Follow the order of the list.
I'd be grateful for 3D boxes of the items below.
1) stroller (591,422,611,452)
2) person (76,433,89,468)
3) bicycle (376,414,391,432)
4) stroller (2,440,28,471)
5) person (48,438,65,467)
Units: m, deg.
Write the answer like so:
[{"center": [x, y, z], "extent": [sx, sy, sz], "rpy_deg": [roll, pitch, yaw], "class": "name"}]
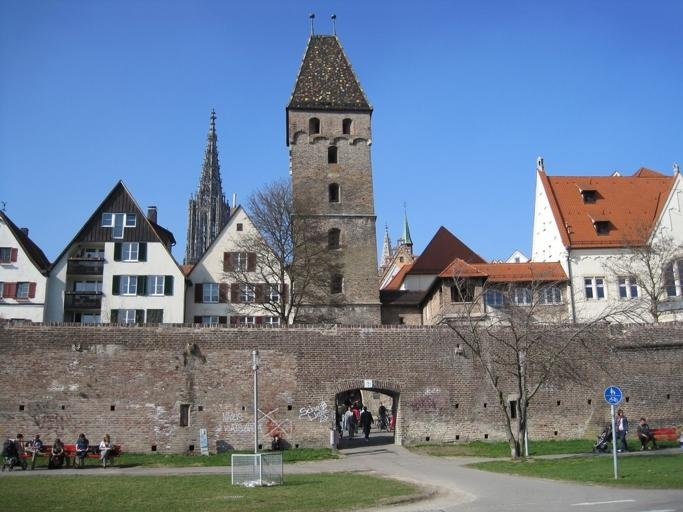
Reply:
[{"center": [14.914, 10.544, 48.237], "extent": [0.579, 1.395, 0.851], "rpy_deg": [23, -21, 19], "class": "stroller"}, {"center": [-14.366, 10.869, 46.454], "extent": [0.672, 1.799, 1.096], "rpy_deg": [1, -14, -15], "class": "person"}, {"center": [3.102, 12.012, 59.761], "extent": [0.855, 1.073, 1.394], "rpy_deg": [-3, -14, 2], "class": "bicycle"}, {"center": [-17.537, 10.725, 44.963], "extent": [1.213, 1.608, 1.570], "rpy_deg": [5, -16, -29], "class": "stroller"}, {"center": [-15.590, 10.905, 45.957], "extent": [0.858, 1.571, 1.150], "rpy_deg": [0, -14, -9], "class": "person"}]
